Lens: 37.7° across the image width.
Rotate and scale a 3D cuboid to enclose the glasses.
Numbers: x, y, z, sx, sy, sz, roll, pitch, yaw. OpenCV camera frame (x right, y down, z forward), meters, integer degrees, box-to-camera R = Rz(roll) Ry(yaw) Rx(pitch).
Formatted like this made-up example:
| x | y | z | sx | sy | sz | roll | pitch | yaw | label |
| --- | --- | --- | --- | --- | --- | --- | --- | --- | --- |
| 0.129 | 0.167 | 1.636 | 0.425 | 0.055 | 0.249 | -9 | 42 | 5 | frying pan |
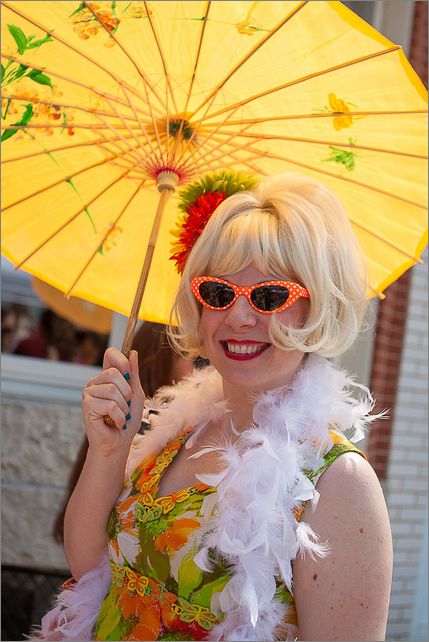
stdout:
| x | y | z | sx | sy | sz | roll | pitch | yaw | label |
| --- | --- | --- | --- | --- | --- | --- | --- | --- | --- |
| 0.066 | -0.059 | 1.402 | 0.269 | 0.081 | 0.076 | 8 | 7 | 28 | glasses |
